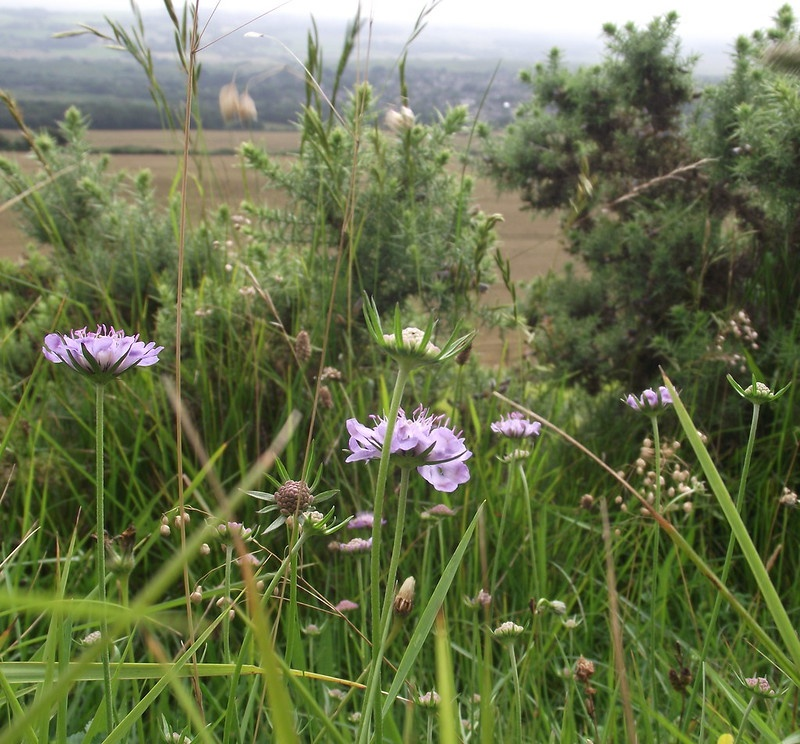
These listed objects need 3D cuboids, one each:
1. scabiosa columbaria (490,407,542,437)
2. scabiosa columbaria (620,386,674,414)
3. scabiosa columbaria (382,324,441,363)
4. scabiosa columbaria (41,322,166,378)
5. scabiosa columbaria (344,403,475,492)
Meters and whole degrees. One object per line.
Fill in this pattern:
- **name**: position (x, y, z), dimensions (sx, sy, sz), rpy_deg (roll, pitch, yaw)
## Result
- **scabiosa columbaria**: position (0.306, 0.146, 2.143), dimensions (0.083, 0.069, 0.091), rpy_deg (8, -10, -22)
- **scabiosa columbaria**: position (0.678, 0.080, 2.311), dimensions (0.069, 0.049, 0.070), rpy_deg (-14, -10, -2)
- **scabiosa columbaria**: position (0.011, -0.055, 1.623), dimensions (0.072, 0.055, 0.075), rpy_deg (8, -8, 43)
- **scabiosa columbaria**: position (-0.597, -0.040, 1.664), dimensions (0.201, 0.086, 0.115), rpy_deg (2, 31, 0)
- **scabiosa columbaria**: position (0.020, 0.164, 1.684), dimensions (0.196, 0.124, 0.196), rpy_deg (21, -15, 48)
